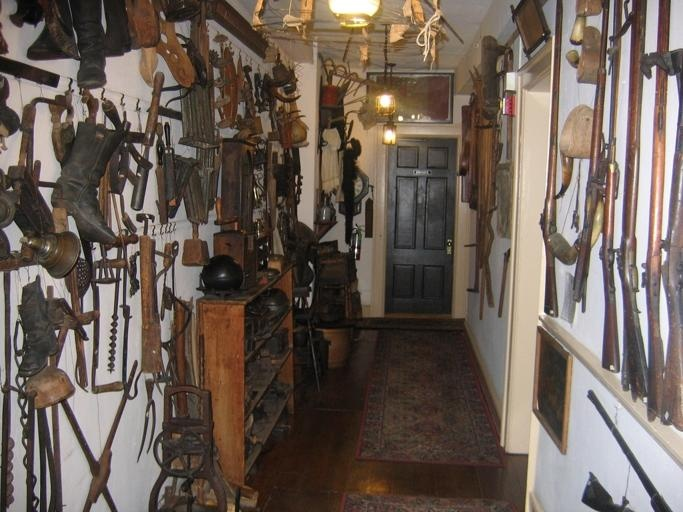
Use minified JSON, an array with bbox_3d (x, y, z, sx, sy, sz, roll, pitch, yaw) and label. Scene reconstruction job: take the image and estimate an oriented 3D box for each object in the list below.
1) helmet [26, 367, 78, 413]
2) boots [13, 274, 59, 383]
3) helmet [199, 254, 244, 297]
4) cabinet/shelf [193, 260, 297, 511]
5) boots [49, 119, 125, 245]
[{"bbox_3d":[-1.101,0.505,2.247,0.128,0.084,0.143,-13,21,21],"label":"helmet"},{"bbox_3d":[-1.168,0.271,2.242,0.141,0.368,0.106,-6,11,-33],"label":"boots"},{"bbox_3d":[-0.716,0.110,3.547,0.207,0.215,0.208,-2,1,-41],"label":"helmet"},{"bbox_3d":[-0.616,0.826,3.655,0.195,0.945,1.167,-2,13,0],"label":"cabinet/shelf"},{"bbox_3d":[-1.034,-0.301,2.421,0.282,0.487,0.129,-4,10,-24],"label":"boots"}]
